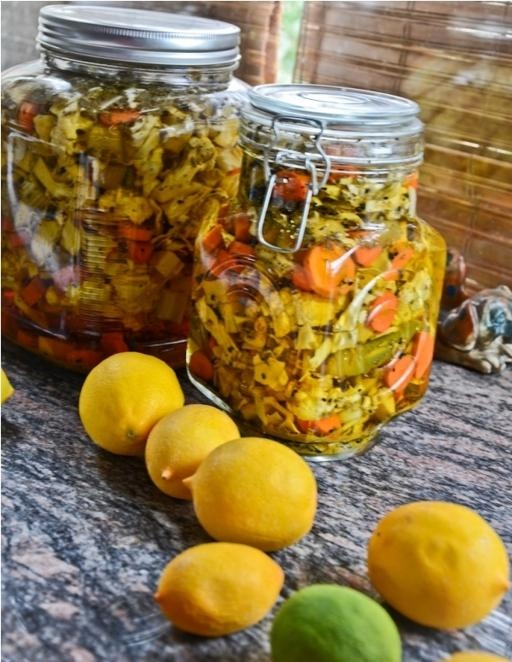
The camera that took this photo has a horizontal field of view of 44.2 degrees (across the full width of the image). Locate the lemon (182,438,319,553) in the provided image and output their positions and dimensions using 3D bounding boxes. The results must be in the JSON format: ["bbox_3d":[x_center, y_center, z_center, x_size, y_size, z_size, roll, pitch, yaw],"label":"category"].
[{"bbox_3d":[0.004,0.105,0.406,0.084,0.057,0.054,16,58,-9],"label":"lemon"}]

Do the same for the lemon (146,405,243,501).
[{"bbox_3d":[-0.047,0.072,0.413,0.076,0.048,0.055,-12,7,-38],"label":"lemon"}]

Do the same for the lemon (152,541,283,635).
[{"bbox_3d":[-0.019,0.128,0.314,0.067,0.033,0.039,-6,62,-9],"label":"lemon"}]

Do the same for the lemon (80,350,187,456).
[{"bbox_3d":[-0.090,0.054,0.453,0.062,0.055,0.064,-12,27,8],"label":"lemon"}]

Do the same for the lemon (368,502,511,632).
[{"bbox_3d":[0.092,0.123,0.378,0.083,0.057,0.064,23,11,27],"label":"lemon"}]

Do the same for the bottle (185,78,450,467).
[{"bbox_3d":[0.053,-0.047,0.527,0.215,0.234,0.195,-12,24,-36],"label":"bottle"}]
